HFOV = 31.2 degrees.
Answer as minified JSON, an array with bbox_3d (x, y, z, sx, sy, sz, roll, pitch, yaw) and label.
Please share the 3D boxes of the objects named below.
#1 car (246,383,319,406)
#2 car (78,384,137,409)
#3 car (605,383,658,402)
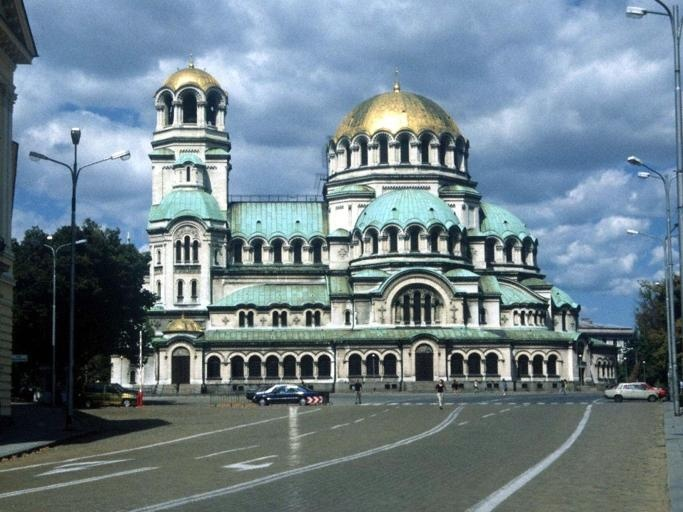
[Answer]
[{"bbox_3d":[-4.011,9.110,82.963,3.953,1.195,1.760,2,-8,0],"label":"car"},{"bbox_3d":[-15.959,9.602,83.441,3.041,1.363,1.756,-2,-2,0],"label":"car"},{"bbox_3d":[19.462,9.070,81.855,3.155,1.038,1.456,-2,-1,-1],"label":"car"}]
